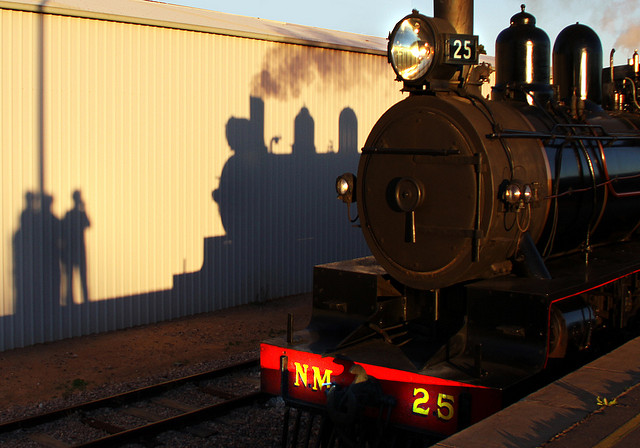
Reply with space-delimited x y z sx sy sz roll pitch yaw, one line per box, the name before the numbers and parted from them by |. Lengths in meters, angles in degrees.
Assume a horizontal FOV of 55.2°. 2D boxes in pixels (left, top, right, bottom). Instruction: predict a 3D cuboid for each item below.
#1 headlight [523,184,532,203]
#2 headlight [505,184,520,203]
headlight | 2.070 -0.298 6.114 0.043 0.181 0.247 3 8 29
headlight | 1.880 -0.295 5.992 0.141 0.176 0.041 -3 7 -15
